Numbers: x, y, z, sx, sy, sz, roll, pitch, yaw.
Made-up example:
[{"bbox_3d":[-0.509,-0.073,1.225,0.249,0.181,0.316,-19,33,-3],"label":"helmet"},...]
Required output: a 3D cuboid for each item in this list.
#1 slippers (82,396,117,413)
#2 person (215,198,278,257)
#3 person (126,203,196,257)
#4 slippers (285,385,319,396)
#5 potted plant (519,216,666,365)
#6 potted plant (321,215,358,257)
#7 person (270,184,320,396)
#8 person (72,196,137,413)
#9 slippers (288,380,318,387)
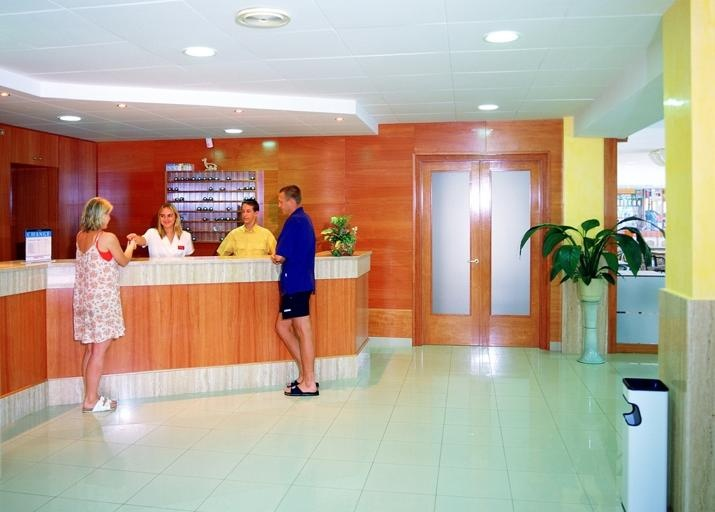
[{"bbox_3d":[-2.686,1.543,5.599,0.266,0.093,0.154,1,-1,-16],"label":"slippers"},{"bbox_3d":[-1.540,-0.417,7.684,0.990,0.798,0.305,1,2,0],"label":"person"},{"bbox_3d":[-2.326,-0.251,6.581,0.899,1.009,0.675,0,2,-12],"label":"person"},{"bbox_3d":[-0.623,1.498,6.046,0.324,0.085,0.145,2,-4,-2],"label":"slippers"},{"bbox_3d":[3.164,0.434,7.290,1.357,1.968,1.206,3,8,25],"label":"potted plant"},{"bbox_3d":[-0.236,-0.243,6.862,0.605,0.545,0.565,0,-1,-10],"label":"potted plant"},{"bbox_3d":[-0.686,0.392,5.985,0.495,2.332,0.467,-1,7,-8],"label":"person"},{"bbox_3d":[-2.602,0.514,5.490,0.559,2.190,0.316,-3,7,-19],"label":"person"},{"bbox_3d":[-0.592,1.460,6.130,0.366,0.089,0.124,3,-3,-9],"label":"slippers"}]
